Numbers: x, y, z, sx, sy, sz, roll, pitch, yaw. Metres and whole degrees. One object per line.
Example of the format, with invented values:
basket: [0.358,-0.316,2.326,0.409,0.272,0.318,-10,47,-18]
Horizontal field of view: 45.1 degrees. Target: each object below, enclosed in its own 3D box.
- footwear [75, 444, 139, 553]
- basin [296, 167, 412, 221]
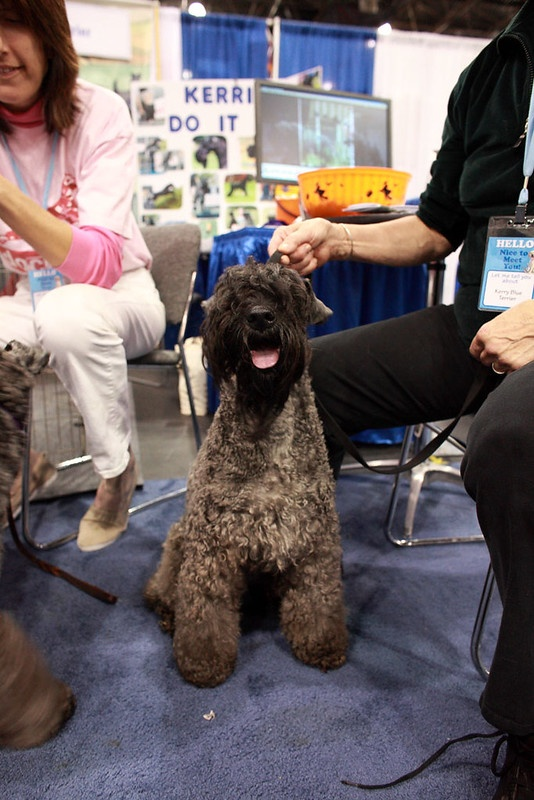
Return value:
footwear: [-0.464,0.313,1.925,0.129,0.077,0.345,5,23,-5]
basin: [0.296,-0.745,2.286,0.318,0.121,0.317,-2,7,0]
